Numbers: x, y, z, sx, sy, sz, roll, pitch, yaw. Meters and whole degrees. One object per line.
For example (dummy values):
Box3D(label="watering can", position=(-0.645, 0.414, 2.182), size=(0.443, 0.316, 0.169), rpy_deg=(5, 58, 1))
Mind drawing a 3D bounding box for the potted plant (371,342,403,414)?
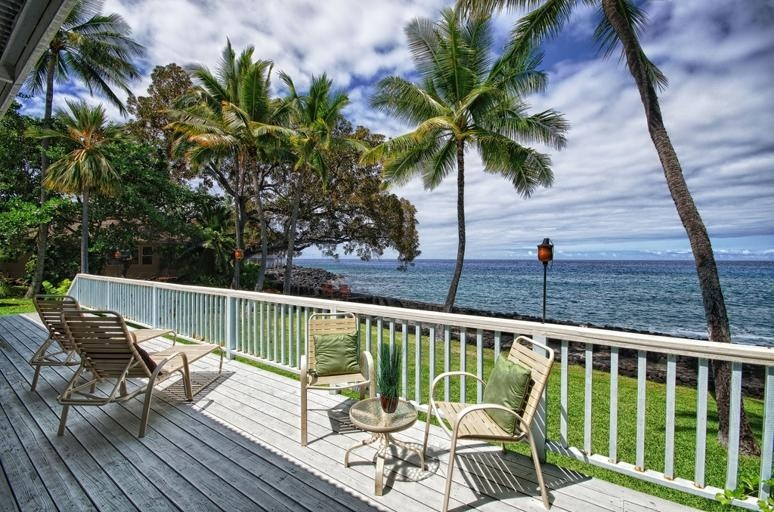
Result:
Box3D(label="potted plant", position=(0.038, 2.367, 9.298), size=(0.405, 1.298, 0.370), rpy_deg=(1, 9, -1))

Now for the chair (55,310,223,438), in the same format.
Box3D(label="chair", position=(-5.543, 2.186, 10.038), size=(1.803, 2.481, 3.881), rpy_deg=(1, 1, 7))

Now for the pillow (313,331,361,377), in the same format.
Box3D(label="pillow", position=(-1.067, 2.090, 10.304), size=(0.950, 0.876, 0.368), rpy_deg=(-3, -6, -11))

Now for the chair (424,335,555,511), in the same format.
Box3D(label="chair", position=(1.888, 3.349, 10.738), size=(2.884, 4.122, 2.909), rpy_deg=(6, -7, -10))

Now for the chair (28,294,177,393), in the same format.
Box3D(label="chair", position=(-7.229, 1.948, 12.304), size=(1.843, 2.585, 3.884), rpy_deg=(2, 0, -9))

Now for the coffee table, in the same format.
Box3D(label="coffee table", position=(-0.059, 3.637, 9.505), size=(1.685, 1.190, 1.772), rpy_deg=(-1, 8, 0))
